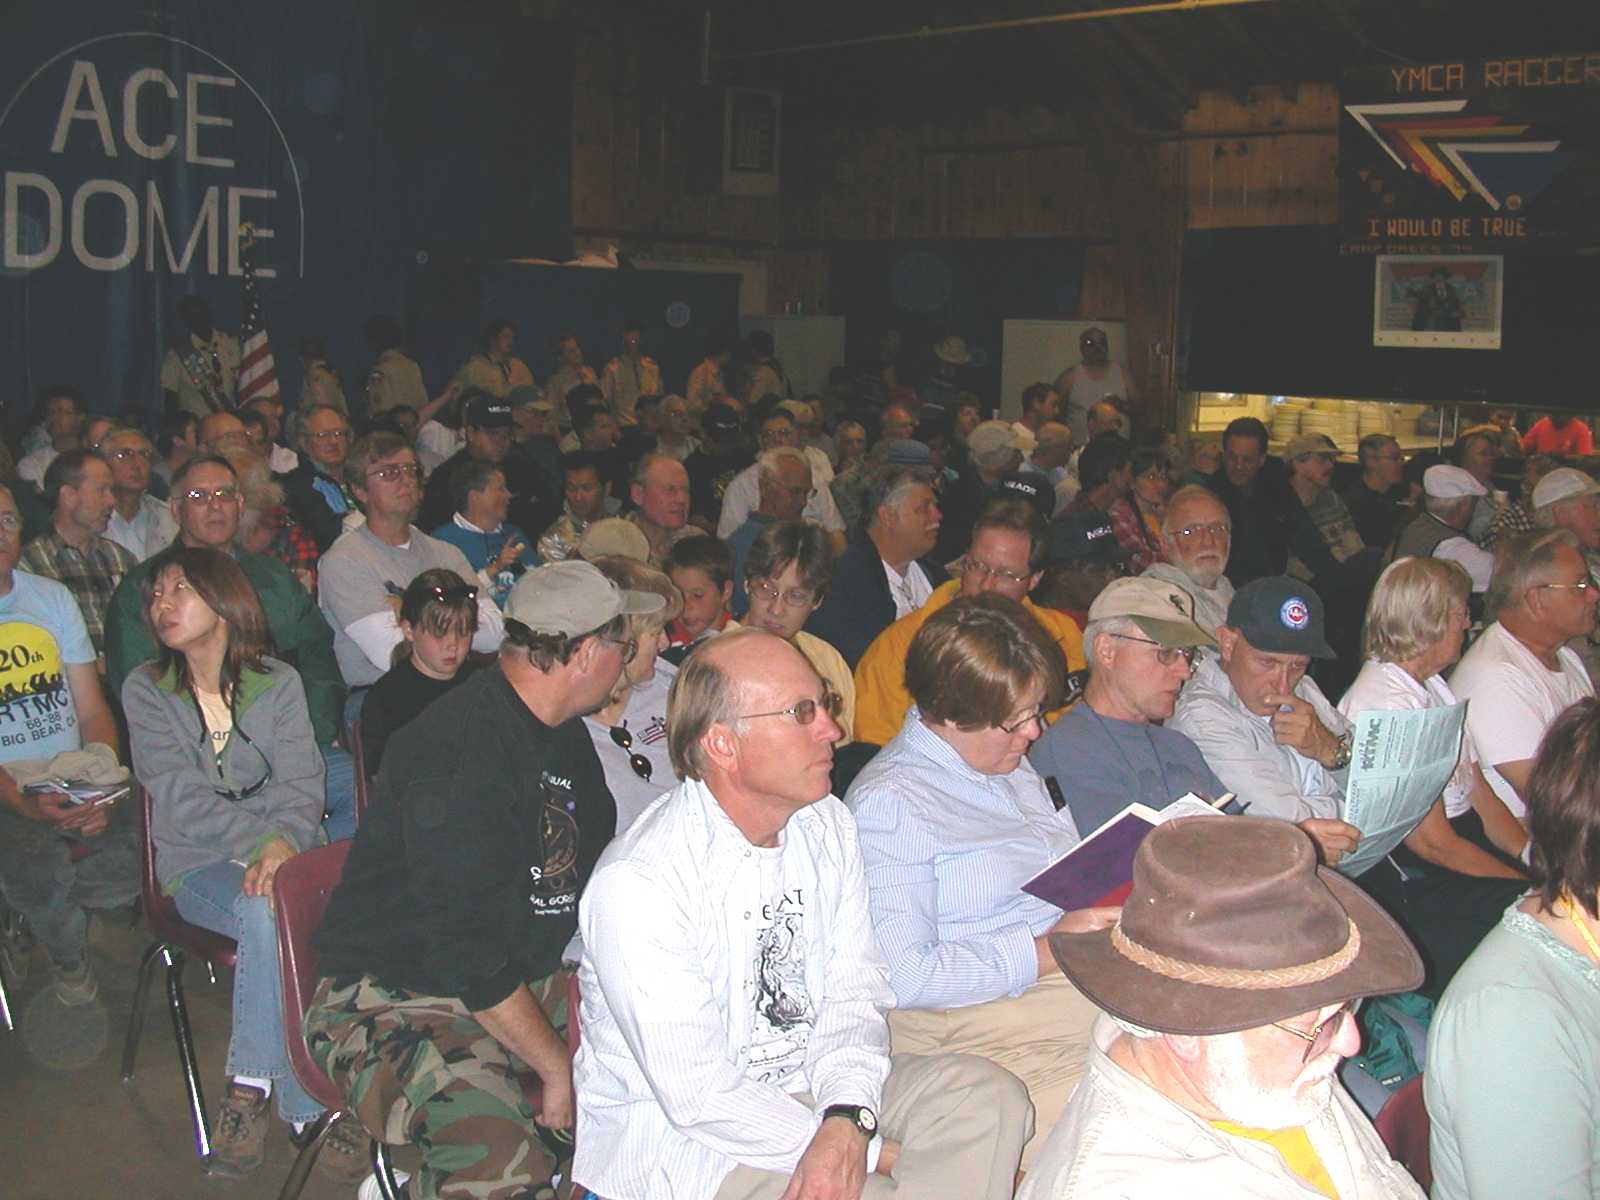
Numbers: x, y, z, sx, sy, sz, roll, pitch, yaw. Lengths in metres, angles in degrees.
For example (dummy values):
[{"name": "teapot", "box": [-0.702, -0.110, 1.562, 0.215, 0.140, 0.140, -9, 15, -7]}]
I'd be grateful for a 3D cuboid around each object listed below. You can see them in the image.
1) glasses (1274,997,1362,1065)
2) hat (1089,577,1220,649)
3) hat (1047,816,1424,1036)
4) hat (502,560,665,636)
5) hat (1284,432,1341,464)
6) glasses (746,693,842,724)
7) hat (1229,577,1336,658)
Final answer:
[{"name": "glasses", "box": [1.057, 0.878, 2.983, 0.135, 0.042, 0.139, 14, 26, 11]}, {"name": "hat", "box": [1.152, 0.047, 4.774, 0.313, 0.157, 0.242, 8, 1, 0]}, {"name": "hat", "box": [0.886, 0.638, 3.046, 0.738, 0.252, 0.672, -10, 12, -4]}, {"name": "hat", "box": [-0.579, 0.032, 4.245, 0.418, 0.152, 0.282, -13, -12, -8]}, {"name": "hat", "box": [3.374, -1.003, 9.668, 0.282, 0.148, 0.210, -3, 6, 21]}, {"name": "glasses", "box": [-0.025, 0.285, 3.794, 0.208, 0.063, 0.201, -9, -5, 31]}, {"name": "hat", "box": [1.681, 0.030, 5.077, 0.303, 0.223, 0.412, 0, 21, -7]}]
